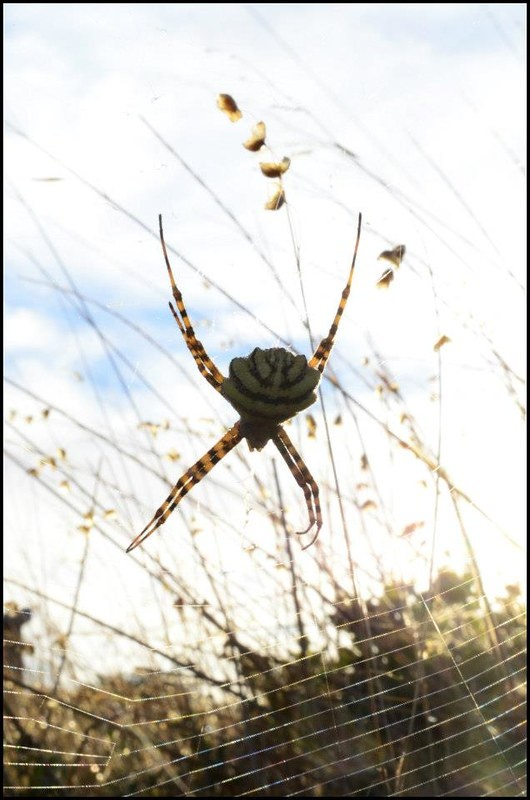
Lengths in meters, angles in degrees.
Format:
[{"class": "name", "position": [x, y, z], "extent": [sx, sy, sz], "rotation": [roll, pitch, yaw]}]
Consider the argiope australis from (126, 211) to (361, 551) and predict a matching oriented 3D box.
[{"class": "argiope australis", "position": [-0.042, -0.003, 7.034], "extent": [1.153, 2.615, 1.662], "rotation": [0, 1, -14]}]
